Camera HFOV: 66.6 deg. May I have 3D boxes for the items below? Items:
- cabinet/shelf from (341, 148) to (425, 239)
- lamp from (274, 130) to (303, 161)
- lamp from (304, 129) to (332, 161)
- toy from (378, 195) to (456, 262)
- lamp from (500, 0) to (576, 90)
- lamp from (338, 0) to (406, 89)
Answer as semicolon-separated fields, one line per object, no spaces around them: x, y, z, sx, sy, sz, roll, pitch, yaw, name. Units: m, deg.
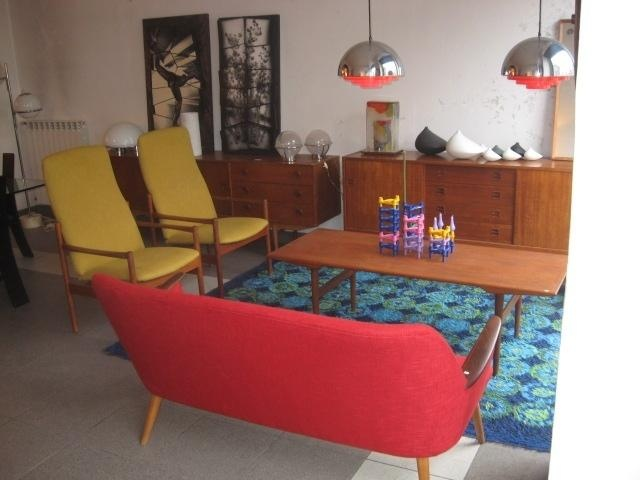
0.600;-0.453;4.515;0.814;0.781;0.319;5;14;27;cabinet/shelf
-0.331;-0.990;5.150;0.302;0.341;0.307;-2;7;-13;lamp
-0.012;-1.029;5.270;0.298;0.338;0.305;1;16;2;lamp
0.688;-0.087;3.523;0.580;0.453;0.605;4;20;18;toy
1.311;-1.072;2.916;0.343;0.312;0.256;-6;18;-10;lamp
0.317;-1.222;3.159;0.381;0.719;0.386;-1;16;1;lamp
